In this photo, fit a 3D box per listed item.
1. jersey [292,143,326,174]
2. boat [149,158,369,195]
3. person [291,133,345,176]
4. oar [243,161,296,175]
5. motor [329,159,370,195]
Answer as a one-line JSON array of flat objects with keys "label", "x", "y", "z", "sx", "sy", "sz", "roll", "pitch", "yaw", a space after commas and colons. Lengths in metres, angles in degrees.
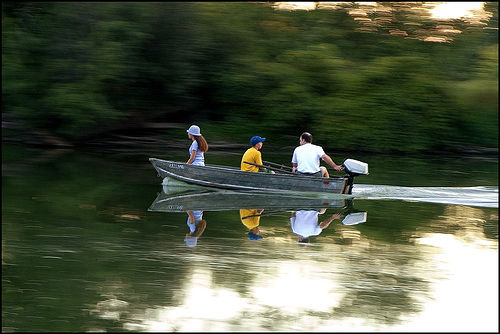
[{"label": "jersey", "x": 1.821, "y": -0.259, "z": 22.426, "sx": 0.957, "sy": 0.984, "sz": 0.454, "roll": 5, "pitch": 9, "yaw": 1}, {"label": "boat", "x": 0.488, "y": 0.339, "z": 23.232, "sx": 6.720, "sy": 0.810, "sz": 1.090, "roll": 3, "pitch": -4, "yaw": 8}, {"label": "person", "x": 1.886, "y": -0.373, "z": 22.478, "sx": 1.049, "sy": 1.332, "sz": 0.466, "roll": 6, "pitch": 9, "yaw": 1}, {"label": "oar", "x": 0.610, "y": 0.043, "z": 23.739, "sx": 2.711, "sy": 0.195, "sz": 0.123, "roll": 9, "pitch": 50, "yaw": 15}, {"label": "motor", "x": 3.301, "y": 0.334, "z": 22.767, "sx": 0.846, "sy": 1.144, "sz": 0.639, "roll": 8, "pitch": 9, "yaw": 15}]
